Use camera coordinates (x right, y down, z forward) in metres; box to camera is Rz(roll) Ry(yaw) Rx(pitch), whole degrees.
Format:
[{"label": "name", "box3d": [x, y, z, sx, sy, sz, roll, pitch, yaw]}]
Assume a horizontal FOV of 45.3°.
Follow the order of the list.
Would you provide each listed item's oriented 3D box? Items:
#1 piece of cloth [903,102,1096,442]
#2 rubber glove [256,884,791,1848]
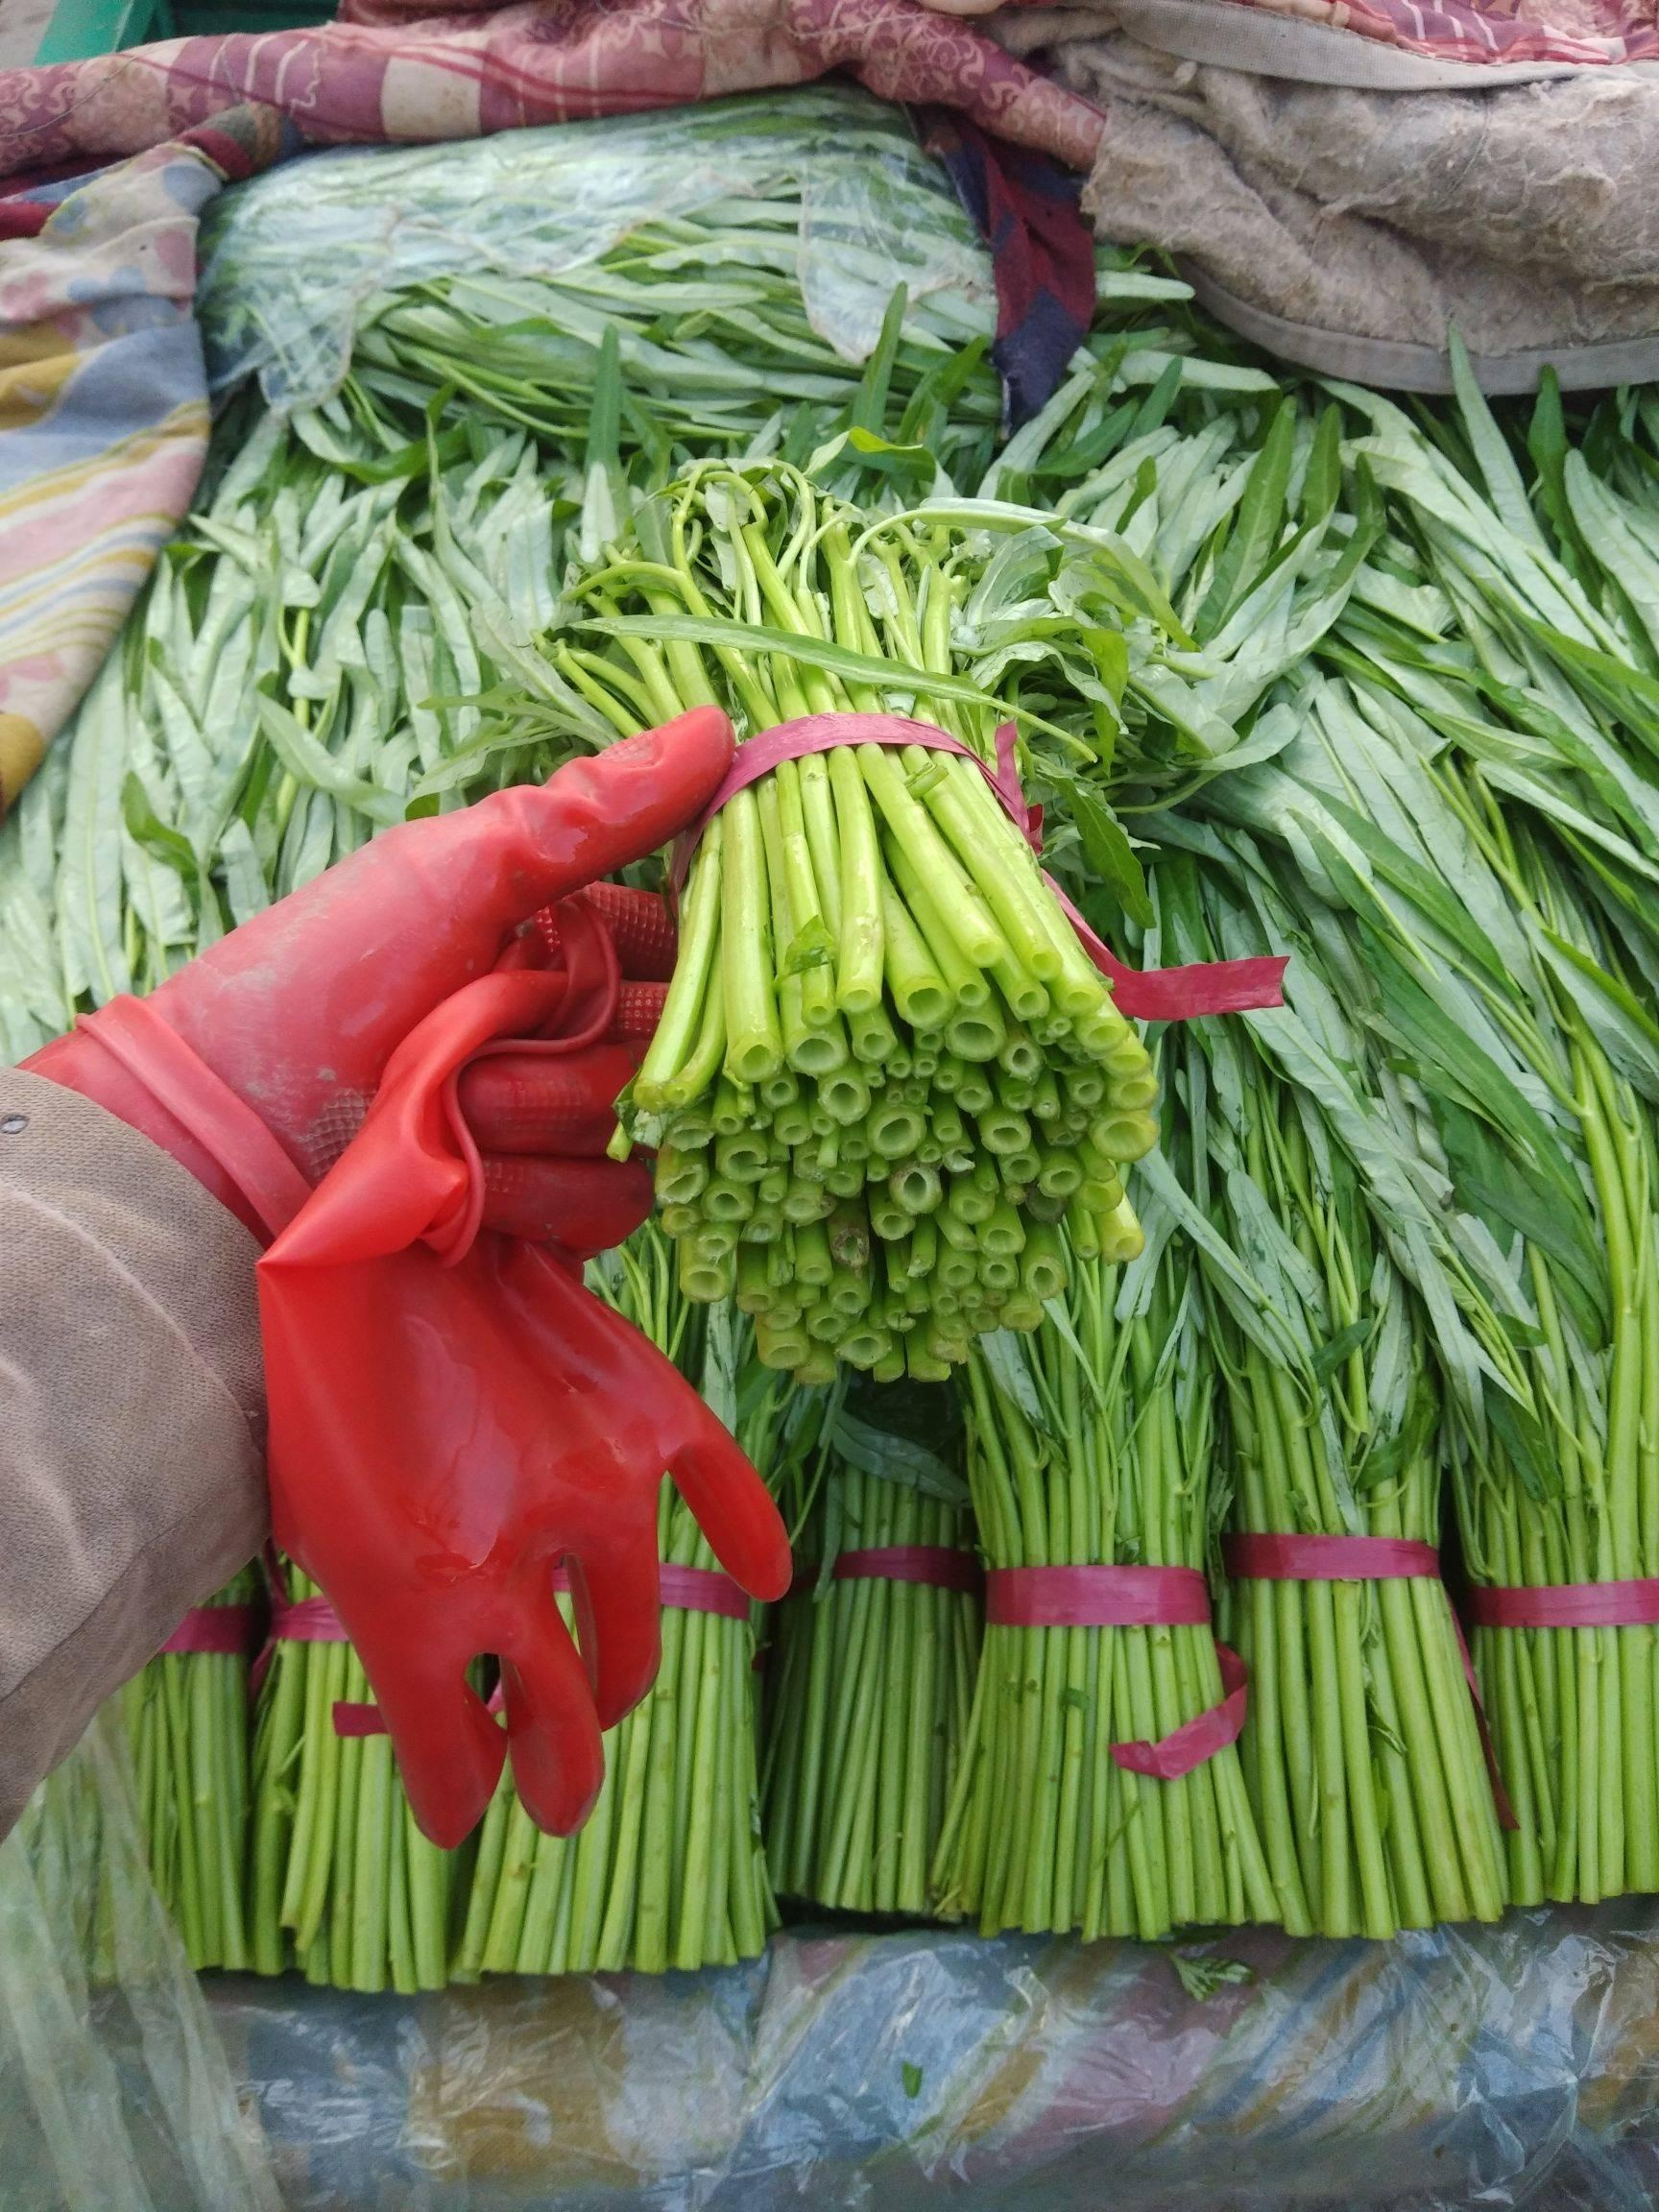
[{"label": "piece of cloth", "box3d": [0.131, -0.605, 1.357, 0.062, 0.235, 0.067, -17, -5, 14]}, {"label": "rubber glove", "box3d": [-0.114, 0.110, 0.802, 0.224, 0.377, 0.101, 2, -5, -31]}]
